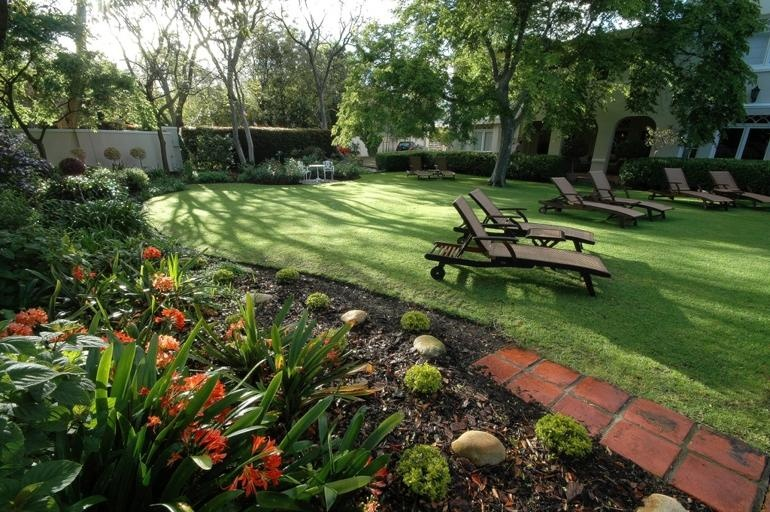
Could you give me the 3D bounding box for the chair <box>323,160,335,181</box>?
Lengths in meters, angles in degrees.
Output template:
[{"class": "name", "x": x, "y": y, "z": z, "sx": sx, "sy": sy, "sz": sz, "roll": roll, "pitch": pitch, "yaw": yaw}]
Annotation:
[{"class": "chair", "x": -2.664, "y": -4.126, "z": 19.381, "sx": 0.577, "sy": 0.868, "sz": 2.216, "roll": -5, "pitch": 15, "yaw": -7}]
